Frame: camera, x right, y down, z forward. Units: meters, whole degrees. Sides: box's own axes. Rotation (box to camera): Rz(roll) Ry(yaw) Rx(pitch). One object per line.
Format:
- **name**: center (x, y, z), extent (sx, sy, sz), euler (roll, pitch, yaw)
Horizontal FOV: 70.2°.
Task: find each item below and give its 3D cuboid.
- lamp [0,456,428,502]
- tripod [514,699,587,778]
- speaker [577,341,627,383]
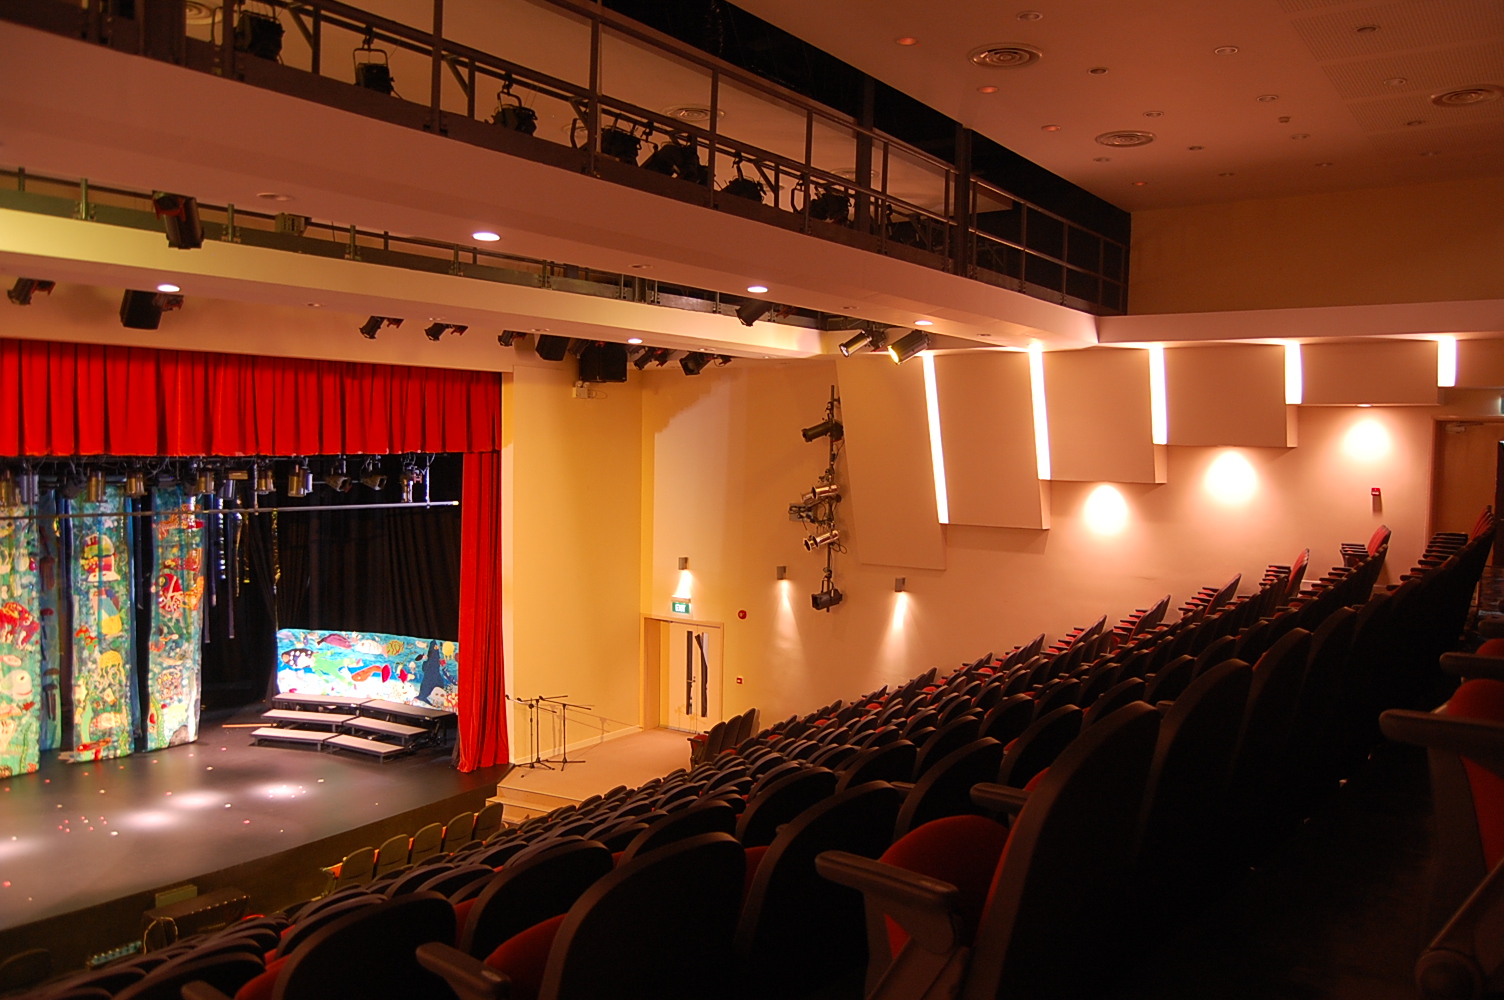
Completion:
- **lamp**: center (-7.756, -0.303, 15.069), extent (4.370, 0.677, 0.659), euler (1, -3, -2)
- **tripod**: center (-3.330, 3.633, 16.605), extent (0.899, 1.141, 1.189), euler (-1, -2, 34)
- **speaker**: center (-2.185, -2.001, 15.915), extent (0.529, 0.708, 0.717), euler (2, 2, 32)
